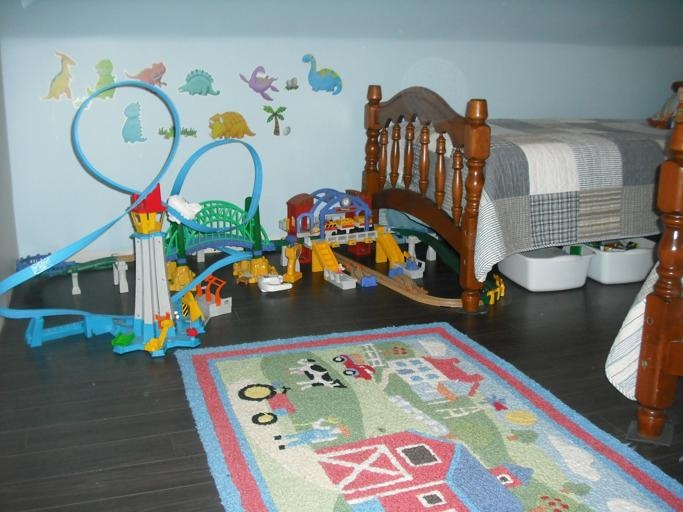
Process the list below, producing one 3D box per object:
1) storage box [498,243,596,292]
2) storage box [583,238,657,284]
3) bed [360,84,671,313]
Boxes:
[{"bbox_3d":[1.451,0.115,3.741,0.620,0.263,0.269,2,9,15],"label":"storage box"},{"bbox_3d":[2.066,0.058,3.888,0.444,0.201,0.344,-5,13,-11],"label":"storage box"},{"bbox_3d":[1.124,-0.371,4.228,1.885,1.520,1.863,-3,20,-11],"label":"bed"}]
